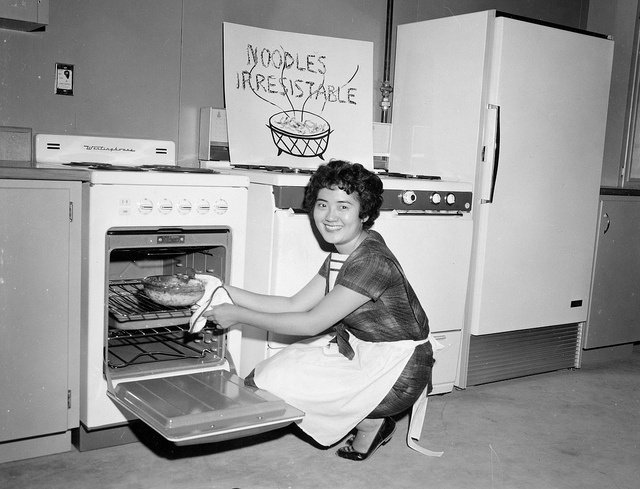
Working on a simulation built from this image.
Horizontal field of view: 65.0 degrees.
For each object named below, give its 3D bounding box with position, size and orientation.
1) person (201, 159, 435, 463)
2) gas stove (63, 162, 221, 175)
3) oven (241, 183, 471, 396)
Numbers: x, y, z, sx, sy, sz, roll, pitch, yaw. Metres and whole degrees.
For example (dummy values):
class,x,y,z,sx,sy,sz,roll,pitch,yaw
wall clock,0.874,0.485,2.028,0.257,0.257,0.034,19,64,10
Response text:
class,x,y,z,sx,sy,sz,roll,pitch,yaw
person,-0.222,0.278,2.668,1.370,1.689,0.717,0,1,-3
gas stove,-0.815,-0.342,2.245,0.538,0.028,0.664,-3,11,-38
oven,0.163,0.418,3.010,1.389,1.475,0.981,-3,6,-30
